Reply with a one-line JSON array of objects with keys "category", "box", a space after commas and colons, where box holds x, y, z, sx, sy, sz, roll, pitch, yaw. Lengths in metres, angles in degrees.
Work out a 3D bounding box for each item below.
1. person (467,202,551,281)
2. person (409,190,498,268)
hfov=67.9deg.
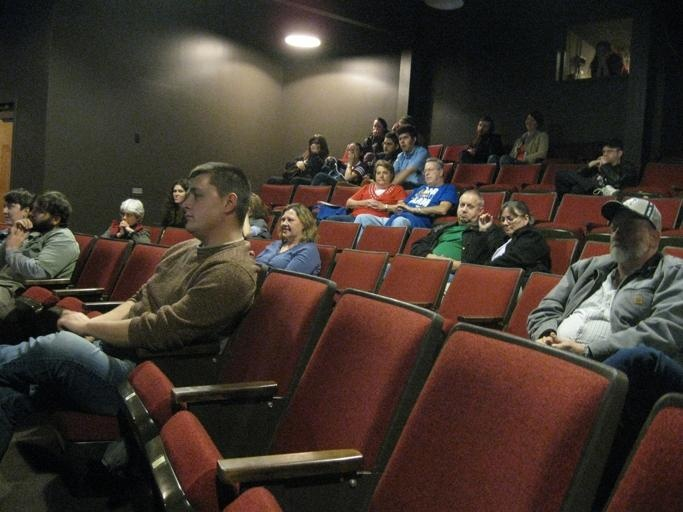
[{"category": "person", "box": [1.229, -0.013, 3.587, 0.495, 0.749, 0.477, 4, -8, -8]}, {"category": "person", "box": [0.958, -0.185, 4.054, 0.777, 0.672, 0.454, 9, -2, 44]}]
